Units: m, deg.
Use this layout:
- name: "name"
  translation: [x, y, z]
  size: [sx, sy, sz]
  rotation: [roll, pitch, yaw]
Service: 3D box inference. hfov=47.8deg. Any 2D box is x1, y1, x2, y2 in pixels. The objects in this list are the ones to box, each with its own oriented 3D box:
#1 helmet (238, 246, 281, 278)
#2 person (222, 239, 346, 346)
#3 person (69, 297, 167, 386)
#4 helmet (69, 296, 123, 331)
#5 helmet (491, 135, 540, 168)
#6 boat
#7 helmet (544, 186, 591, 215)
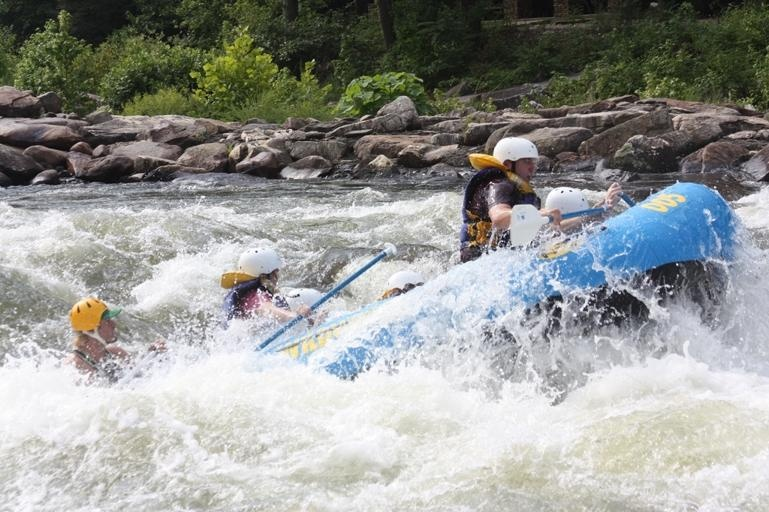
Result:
- name: "helmet"
  translation: [-1.523, 0.096, 10.516]
  size: [0.430, 0.246, 0.329]
  rotation: [-18, 4, 17]
- name: "person"
  translation: [-1.362, 0.350, 10.381]
  size: [1.095, 1.407, 0.867]
  rotation: [-27, 13, -21]
- name: "person"
  translation: [-3.167, 1.005, 10.184]
  size: [1.233, 1.133, 0.733]
  rotation: [-6, 24, -26]
- name: "helmet"
  translation: [-3.311, 0.639, 9.939]
  size: [0.518, 0.257, 0.354]
  rotation: [-23, 23, -10]
- name: "helmet"
  translation: [1.572, -1.251, 10.405]
  size: [0.443, 0.335, 0.321]
  rotation: [-17, 2, 22]
- name: "boat"
  translation: [1.252, 0.394, 10.338]
  size: [3.970, 0.730, 1.213]
  rotation: [-26, -11, 3]
- name: "helmet"
  translation: [2.224, -0.661, 10.544]
  size: [0.475, 0.331, 0.374]
  rotation: [8, 1, 19]
